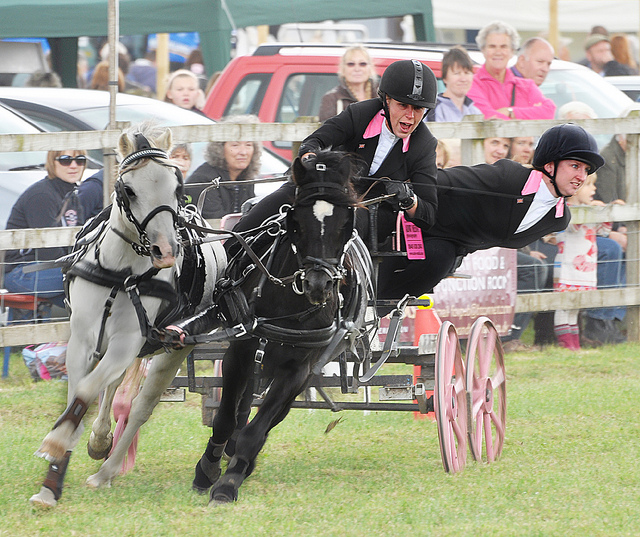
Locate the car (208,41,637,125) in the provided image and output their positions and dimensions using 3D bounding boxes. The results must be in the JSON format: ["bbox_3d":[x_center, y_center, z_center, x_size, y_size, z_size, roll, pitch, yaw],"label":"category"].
[{"bbox_3d":[0.814,-1.853,10.418,3.370,1.044,1.600,-1,3,10],"label":"car"}]

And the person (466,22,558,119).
[{"bbox_3d":[1.745,-1.790,9.681,0.777,0.851,0.580,-1,13,-4],"label":"person"}]

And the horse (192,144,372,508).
[{"bbox_3d":[-0.264,0.458,7.094,0.868,2.064,2.982,20,-12,-3],"label":"horse"}]

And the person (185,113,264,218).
[{"bbox_3d":[-0.718,-0.848,8.863,0.823,0.803,0.347,3,9,-25],"label":"person"}]

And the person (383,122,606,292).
[{"bbox_3d":[0.983,-0.323,7.318,1.945,0.872,0.881,-11,-35,41],"label":"person"}]

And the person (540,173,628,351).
[{"bbox_3d":[2.414,-0.091,9.710,0.839,1.786,0.761,-4,-2,35],"label":"person"}]

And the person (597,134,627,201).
[{"bbox_3d":[2.657,-0.884,9.670,0.274,0.599,0.432,-1,-6,3],"label":"person"}]

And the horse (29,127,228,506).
[{"bbox_3d":[-1.135,0.271,6.261,1.037,2.158,1.080,0,13,4],"label":"horse"}]
